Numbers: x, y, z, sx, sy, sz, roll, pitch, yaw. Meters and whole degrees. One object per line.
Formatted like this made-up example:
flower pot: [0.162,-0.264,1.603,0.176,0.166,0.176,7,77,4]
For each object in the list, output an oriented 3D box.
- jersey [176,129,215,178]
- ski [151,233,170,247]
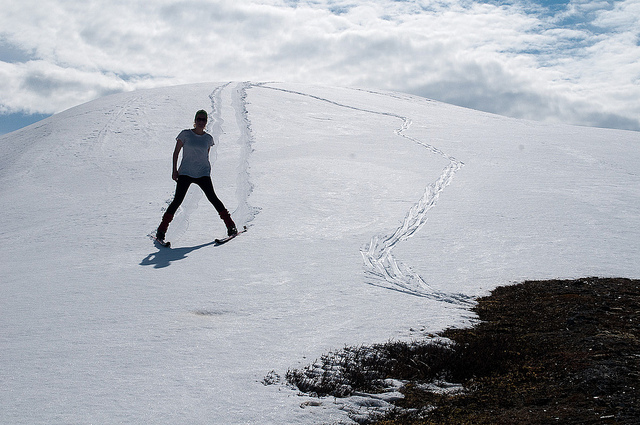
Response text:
jersey: [-3.258,-1.549,23.978,0.854,1.214,0.737,-2,18,2]
ski: [-4.140,0.708,23.791,0.575,0.179,0.105,34,11,27]
